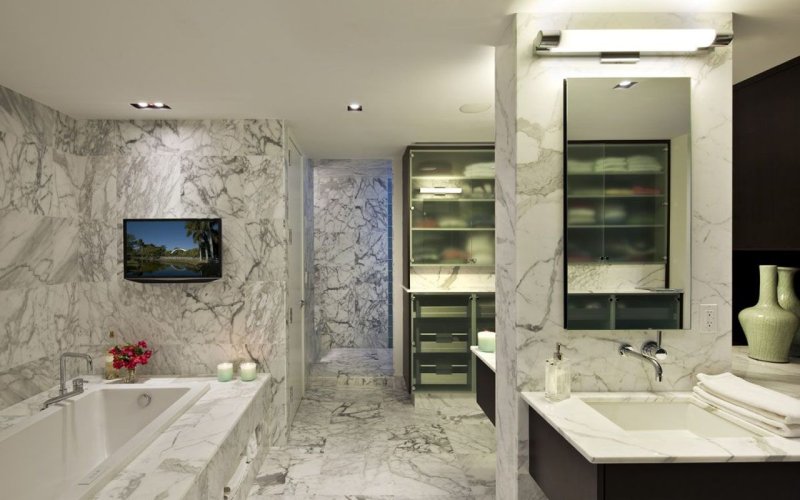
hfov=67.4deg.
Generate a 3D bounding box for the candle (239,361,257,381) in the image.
[{"bbox_3d":[-1.316,1.082,5.346,0.150,0.147,0.145,1,3,15],"label":"candle"}]

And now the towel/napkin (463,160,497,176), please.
[{"bbox_3d":[0.831,-0.817,6.169,0.322,0.098,0.309,-1,2,7],"label":"towel/napkin"}]

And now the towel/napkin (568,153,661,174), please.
[{"bbox_3d":[1.457,-0.577,4.053,0.613,0.116,0.038,-1,13,-2],"label":"towel/napkin"}]

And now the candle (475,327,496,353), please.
[{"bbox_3d":[0.723,0.774,5.118,0.208,0.188,0.197,0,-5,-1],"label":"candle"}]

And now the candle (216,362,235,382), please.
[{"bbox_3d":[-1.527,1.080,5.287,0.163,0.148,0.146,-2,4,-18],"label":"candle"}]

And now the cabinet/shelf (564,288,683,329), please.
[{"bbox_3d":[1.477,0.418,4.056,0.714,0.239,0.199,-2,-5,24],"label":"cabinet/shelf"}]

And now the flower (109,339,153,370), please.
[{"bbox_3d":[-2.360,0.899,5.340,0.312,0.244,0.293,-1,-2,-25],"label":"flower"}]

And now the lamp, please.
[{"bbox_3d":[1.542,-1.361,4.009,1.276,0.199,0.127,-1,13,-2],"label":"lamp"}]

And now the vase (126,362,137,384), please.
[{"bbox_3d":[-2.354,1.065,5.292,0.086,0.196,0.272,-7,13,-24],"label":"vase"}]

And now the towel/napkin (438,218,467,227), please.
[{"bbox_3d":[0.535,-0.277,6.187,0.233,0.100,0.045,0,-6,-1],"label":"towel/napkin"}]

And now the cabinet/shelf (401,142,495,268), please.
[{"bbox_3d":[0.535,-0.481,6.183,1.366,1.181,0.743,0,4,1],"label":"cabinet/shelf"}]

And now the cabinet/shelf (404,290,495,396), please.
[{"bbox_3d":[0.494,0.957,6.544,1.209,1.062,0.903,0,0,0],"label":"cabinet/shelf"}]

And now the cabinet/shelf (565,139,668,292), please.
[{"bbox_3d":[1.477,-0.280,4.216,0.746,1.013,0.341,0,23,22],"label":"cabinet/shelf"}]
